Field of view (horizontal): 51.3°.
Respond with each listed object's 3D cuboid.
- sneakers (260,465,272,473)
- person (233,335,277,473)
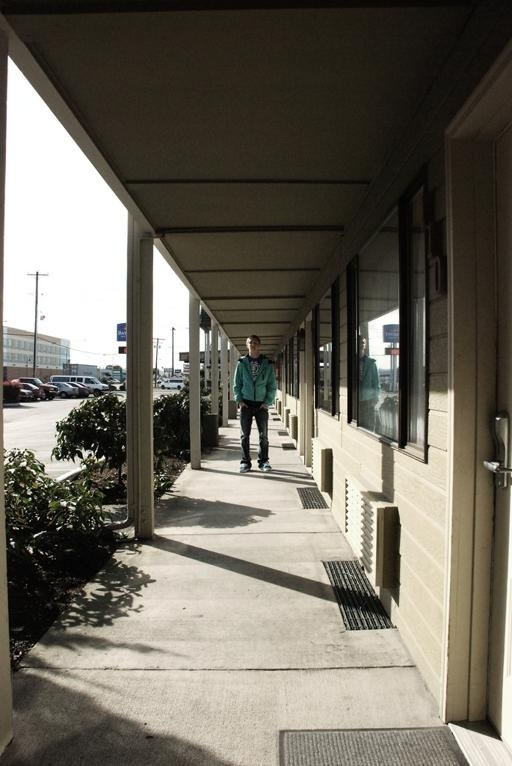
[{"bbox_3d":[0.121,1.095,6.763,0.050,0.093,0.164,2,-10,-15],"label":"sneakers"},{"bbox_3d":[-0.031,0.286,6.849,0.494,1.372,0.860,0,0,24],"label":"person"}]
